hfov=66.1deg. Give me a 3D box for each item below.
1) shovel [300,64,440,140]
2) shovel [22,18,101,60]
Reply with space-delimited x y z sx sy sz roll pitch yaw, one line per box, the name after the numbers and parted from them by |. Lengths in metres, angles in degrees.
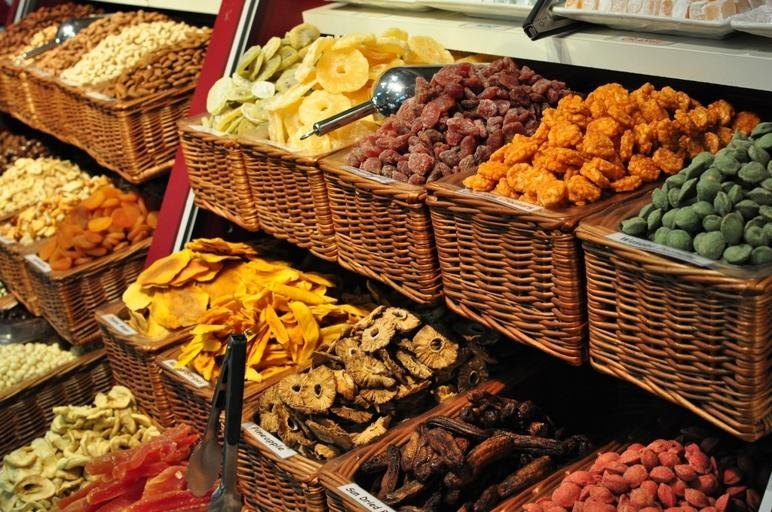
-0.036 -0.422 1.616 0.363 0.091 0.092 -28 72 -13 | shovel
-1.766 -1.185 3.338 0.416 0.072 0.248 -44 24 -20 | shovel
